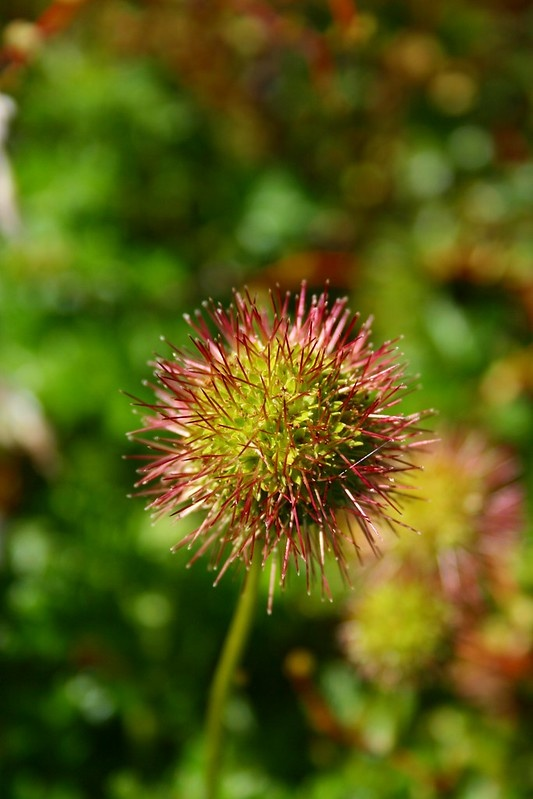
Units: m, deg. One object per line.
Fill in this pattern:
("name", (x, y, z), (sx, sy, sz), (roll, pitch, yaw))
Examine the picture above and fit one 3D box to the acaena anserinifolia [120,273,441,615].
("acaena anserinifolia", (0.124, 0.169, 1.951), (0.713, 0.644, 0.645), (-2, 89, -4))
